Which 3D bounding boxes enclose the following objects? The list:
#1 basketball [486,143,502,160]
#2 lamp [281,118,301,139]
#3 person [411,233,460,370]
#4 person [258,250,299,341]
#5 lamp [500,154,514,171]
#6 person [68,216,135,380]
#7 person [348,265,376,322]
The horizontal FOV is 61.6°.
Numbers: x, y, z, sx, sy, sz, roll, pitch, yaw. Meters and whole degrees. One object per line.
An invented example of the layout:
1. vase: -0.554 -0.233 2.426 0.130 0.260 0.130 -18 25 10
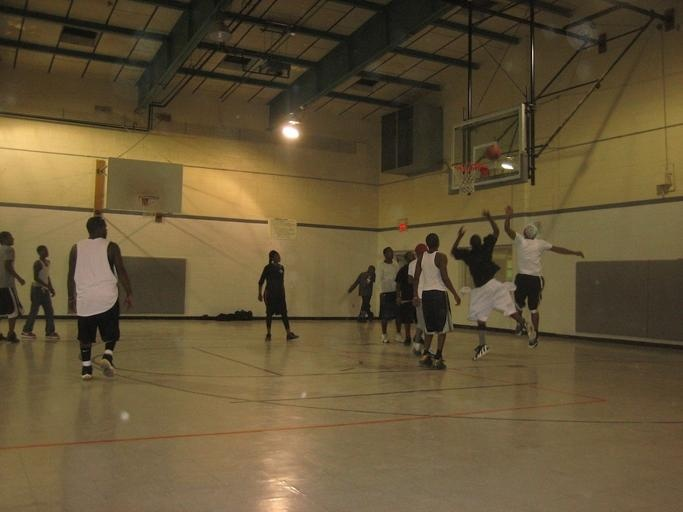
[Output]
1. basketball: 2.707 -1.806 10.188 0.250 0.317 0.258 -6 -13 33
2. lamp: -1.333 -3.323 14.830 0.454 0.445 0.451 -22 41 -35
3. person: 1.190 0.568 7.400 0.511 1.704 0.410 1 -1 17
4. person: -1.214 0.716 10.796 0.648 1.639 1.654 1 -1 -9
5. lamp: 2.870 -1.611 9.899 0.229 0.280 0.235 4 3 39
6. person: -2.615 0.439 6.200 0.622 1.444 0.761 1 -1 -26
7. person: 0.578 1.040 16.468 0.796 1.555 1.355 1 -1 1
